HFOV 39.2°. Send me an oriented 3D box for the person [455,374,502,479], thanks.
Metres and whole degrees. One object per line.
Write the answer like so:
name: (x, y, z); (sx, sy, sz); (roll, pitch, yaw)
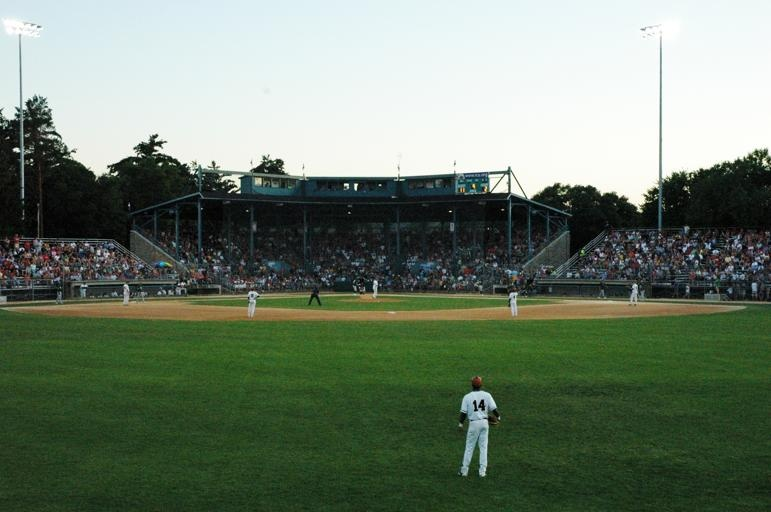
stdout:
person: (3.483, 6.398, 40.518); (1.393, 3.713, 1.078); (1, -1, 4)
